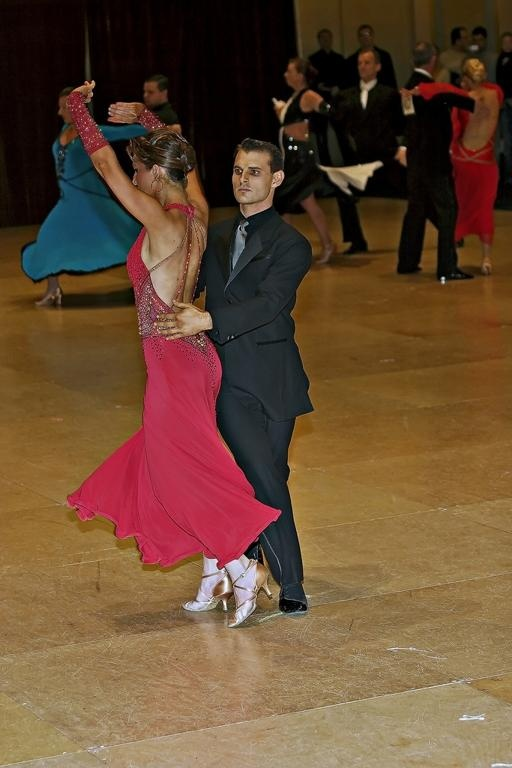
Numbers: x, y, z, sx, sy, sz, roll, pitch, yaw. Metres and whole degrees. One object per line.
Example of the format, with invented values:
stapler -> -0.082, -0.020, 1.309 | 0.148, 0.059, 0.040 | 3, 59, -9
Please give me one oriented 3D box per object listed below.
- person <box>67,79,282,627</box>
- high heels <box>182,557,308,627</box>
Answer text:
person -> -0.288, -0.122, 2.231 | 0.538, 1.367, 0.568 | -5, 2, -23
high heels -> -0.037, 0.648, 2.368 | 0.169, 0.191, 0.504 | -15, -8, 30
